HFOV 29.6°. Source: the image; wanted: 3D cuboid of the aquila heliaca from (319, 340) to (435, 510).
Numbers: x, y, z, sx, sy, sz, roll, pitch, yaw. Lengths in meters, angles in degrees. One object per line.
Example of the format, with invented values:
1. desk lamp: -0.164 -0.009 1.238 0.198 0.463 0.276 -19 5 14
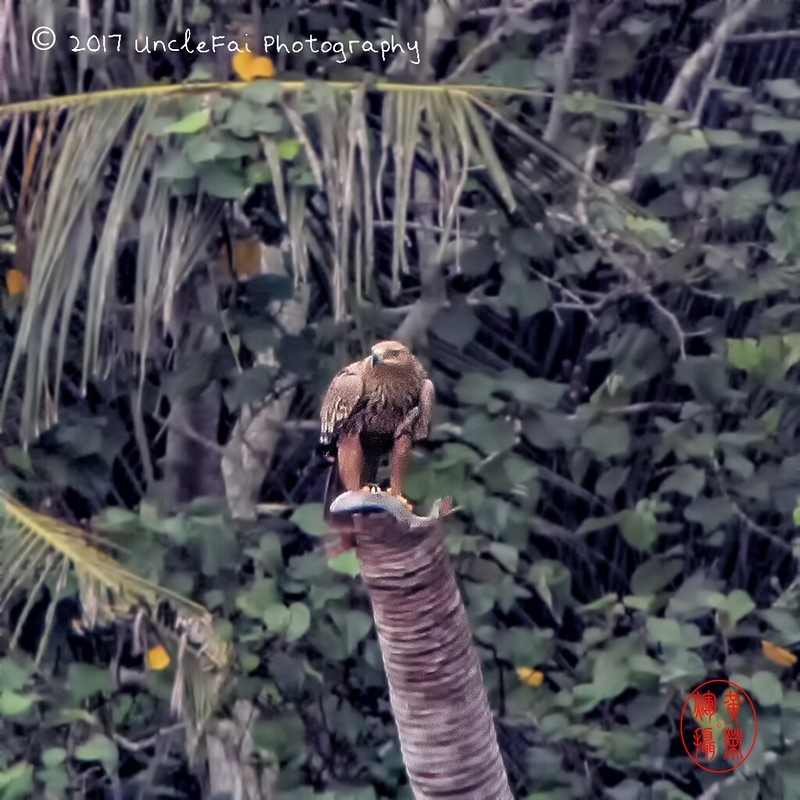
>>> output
1. aquila heliaca: -0.043 0.036 2.919 0.193 0.316 0.303 3 3 -16
